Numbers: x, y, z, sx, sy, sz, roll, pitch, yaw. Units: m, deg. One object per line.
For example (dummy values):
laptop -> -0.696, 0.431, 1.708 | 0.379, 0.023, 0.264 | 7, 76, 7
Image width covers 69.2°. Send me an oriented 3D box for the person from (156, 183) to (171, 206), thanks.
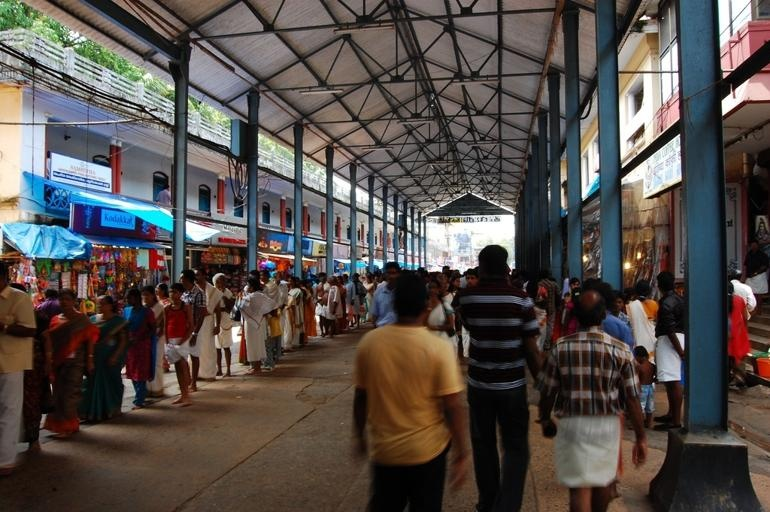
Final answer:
person -> -7.641, -2.069, 19.329 | 0.458, 0.665, 1.077 | -3, 7, -22
